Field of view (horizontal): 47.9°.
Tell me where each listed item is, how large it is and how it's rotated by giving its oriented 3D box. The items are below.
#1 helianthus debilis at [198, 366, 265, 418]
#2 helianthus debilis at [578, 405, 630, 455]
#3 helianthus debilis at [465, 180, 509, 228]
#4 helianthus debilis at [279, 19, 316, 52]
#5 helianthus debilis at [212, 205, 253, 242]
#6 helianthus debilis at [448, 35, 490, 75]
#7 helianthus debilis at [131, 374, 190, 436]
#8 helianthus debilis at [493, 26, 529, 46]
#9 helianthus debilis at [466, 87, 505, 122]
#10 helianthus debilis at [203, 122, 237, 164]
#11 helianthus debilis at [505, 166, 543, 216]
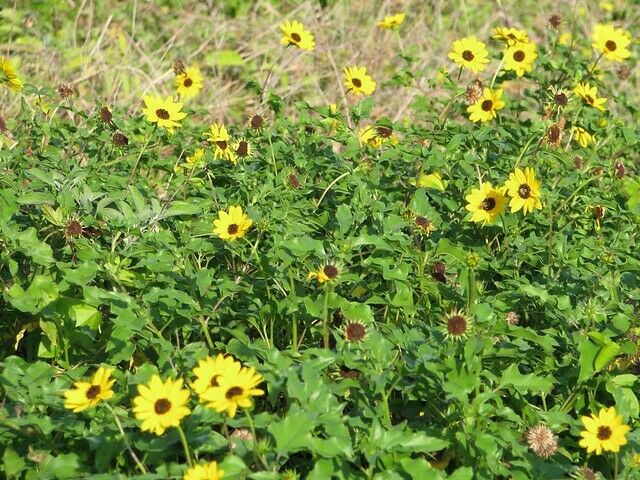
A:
[{"bbox_3d":[-0.307,0.575,2.672,0.256,0.109,0.274,16,-8,3],"label":"helianthus debilis"},{"bbox_3d":[1.118,0.759,2.836,0.202,0.070,0.200,-28,11,-35],"label":"helianthus debilis"},{"bbox_3d":[0.820,-0.199,3.541,0.199,0.196,0.145,18,19,6],"label":"helianthus debilis"},{"bbox_3d":[-0.129,-1.188,4.158,0.191,0.068,0.193,63,-6,17],"label":"helianthus debilis"},{"bbox_3d":[-0.387,-0.073,3.229,0.168,0.154,0.058,58,8,19],"label":"helianthus debilis"},{"bbox_3d":[0.836,-1.083,4.114,0.205,0.080,0.207,-21,-7,-6],"label":"helianthus debilis"},{"bbox_3d":[-0.594,0.629,2.728,0.233,0.096,0.232,-12,41,-29],"label":"helianthus debilis"},{"bbox_3d":[1.140,-1.220,4.270,0.198,0.109,0.318,21,21,9],"label":"helianthus debilis"},{"bbox_3d":[0.959,-0.781,4.113,0.179,0.203,0.291,19,20,10],"label":"helianthus debilis"},{"bbox_3d":[-0.533,-0.548,3.968,0.164,0.201,0.226,4,23,-29],"label":"helianthus debilis"},{"bbox_3d":[0.980,-0.246,3.464,0.181,0.223,0.153,6,21,-25],"label":"helianthus debilis"}]
